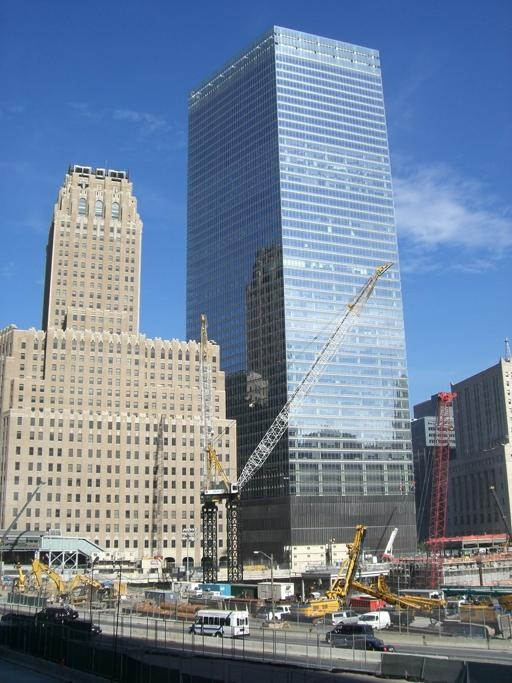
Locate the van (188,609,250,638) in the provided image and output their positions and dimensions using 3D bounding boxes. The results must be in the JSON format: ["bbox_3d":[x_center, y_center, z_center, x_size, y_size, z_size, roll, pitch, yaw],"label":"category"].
[{"bbox_3d":[-3.369,26.251,69.434,5.599,2.317,2.219,-27,-41,36],"label":"van"}]

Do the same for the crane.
[{"bbox_3d":[2.326,15.170,205.398,54.560,97.213,18.324,-4,-20,8],"label":"crane"}]
